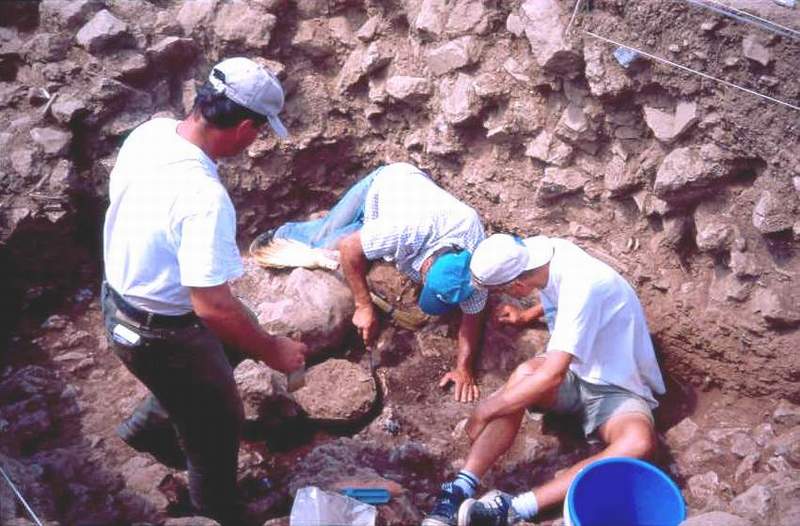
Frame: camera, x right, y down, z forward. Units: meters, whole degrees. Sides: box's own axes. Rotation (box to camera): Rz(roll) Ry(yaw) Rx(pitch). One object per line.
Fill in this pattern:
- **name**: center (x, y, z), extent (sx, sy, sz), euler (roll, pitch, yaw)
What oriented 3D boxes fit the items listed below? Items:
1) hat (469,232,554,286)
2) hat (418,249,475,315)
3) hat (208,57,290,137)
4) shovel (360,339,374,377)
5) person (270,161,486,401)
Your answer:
- **hat**: center (0.726, -0.008, 5.885), extent (0.508, 0.331, 0.257), euler (3, 44, -18)
- **hat**: center (0.303, 0.139, 6.420), extent (0.305, 0.449, 0.146), euler (27, 28, -14)
- **hat**: center (-0.911, -1.033, 5.459), extent (0.512, 0.281, 0.363), euler (28, 30, -34)
- **shovel**: center (-0.239, 0.734, 6.771), extent (0.047, 0.193, 0.188), euler (3, 34, -33)
- **person**: center (0.046, -0.010, 6.656), extent (0.938, 0.761, 1.917), euler (-13, 54, -23)
